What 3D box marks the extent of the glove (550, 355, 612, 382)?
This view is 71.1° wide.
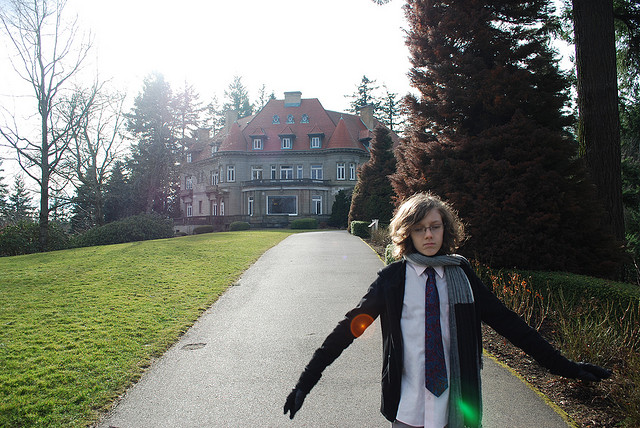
[{"bbox_3d":[3.203,1.929,5.530,0.611,0.305,0.401,-5,10,-29],"label":"glove"}]

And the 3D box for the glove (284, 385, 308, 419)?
[{"bbox_3d":[-0.314,2.346,5.655,0.234,0.417,0.123,39,-2,-4],"label":"glove"}]
